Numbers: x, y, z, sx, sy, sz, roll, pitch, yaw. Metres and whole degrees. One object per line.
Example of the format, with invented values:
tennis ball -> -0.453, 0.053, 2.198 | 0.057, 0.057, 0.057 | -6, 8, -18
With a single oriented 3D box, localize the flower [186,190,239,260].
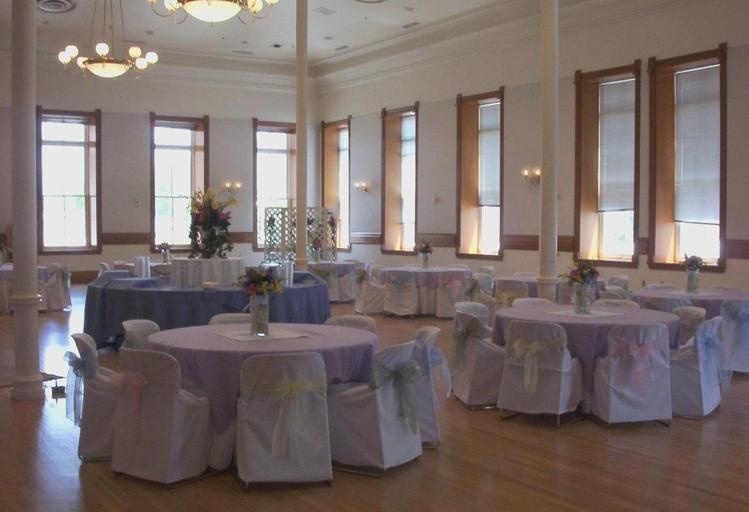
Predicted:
flower -> -2.088, -0.406, 7.784 | 0.626, 0.889, 0.477 | 0, 12, 0

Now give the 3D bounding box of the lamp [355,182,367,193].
lamp -> -0.348, -1.784, 15.470 | 0.107, 0.266, 0.460 | -11, 17, -42

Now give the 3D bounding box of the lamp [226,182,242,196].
lamp -> -3.686, -1.798, 15.858 | 0.496, 0.432, 0.250 | -2, -3, -45

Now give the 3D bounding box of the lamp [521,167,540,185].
lamp -> 3.124, -1.543, 12.106 | 0.266, 0.413, 0.413 | 4, -4, -42
